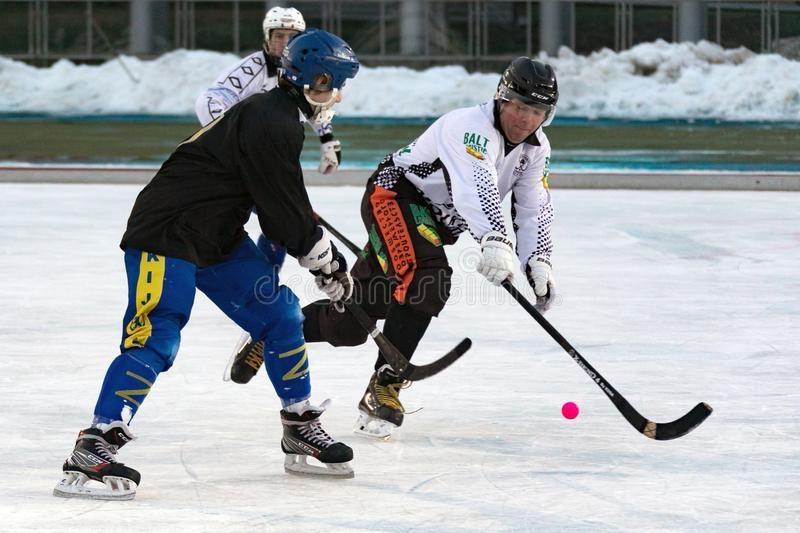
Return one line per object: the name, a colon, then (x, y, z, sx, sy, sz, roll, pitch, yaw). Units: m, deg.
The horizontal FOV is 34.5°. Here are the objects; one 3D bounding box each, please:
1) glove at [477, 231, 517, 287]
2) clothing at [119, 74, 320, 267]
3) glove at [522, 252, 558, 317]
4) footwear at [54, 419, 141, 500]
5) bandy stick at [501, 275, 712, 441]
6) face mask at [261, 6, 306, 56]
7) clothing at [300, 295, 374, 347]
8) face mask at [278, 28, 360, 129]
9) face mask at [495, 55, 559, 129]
glove: (0.500, -0.040, 6.694, 0.188, 0.290, 0.168, 2, 8, 3)
clothing: (-0.874, -0.436, 6.316, 0.973, 0.862, 0.203, 0, 9, -9)
glove: (0.758, 0.088, 6.950, 0.148, 0.267, 0.206, -10, -31, -12)
footwear: (-1.461, 0.942, 6.205, 0.430, 0.290, 0.156, 9, -16, 7)
bandy stick: (1.159, 0.541, 7.241, 0.267, 0.161, 1.588, -5, 28, -36)
face mask: (-0.769, -1.488, 8.061, 0.318, 0.300, 0.352, -1, 7, -15)
clothing: (-0.365, 0.294, 6.936, 0.347, 0.108, 0.260, 15, 4, 22)
face mask: (-0.414, -0.961, 6.360, 0.523, 0.415, 0.368, 7, 13, -17)
face mask: (0.688, -0.932, 6.757, 0.297, 0.308, 0.336, 19, 8, -30)
